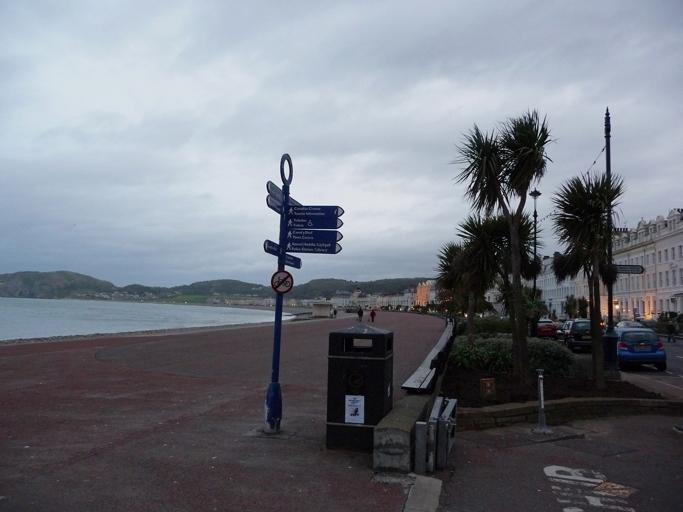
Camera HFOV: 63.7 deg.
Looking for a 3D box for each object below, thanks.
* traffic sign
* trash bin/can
[{"bbox_3d":[-0.615,-0.469,8.975,1.390,1.551,0.255,2,1,5],"label":"traffic sign"},{"bbox_3d":[0.297,2.020,8.459,1.027,1.922,0.650,2,-5,-1],"label":"trash bin/can"}]
